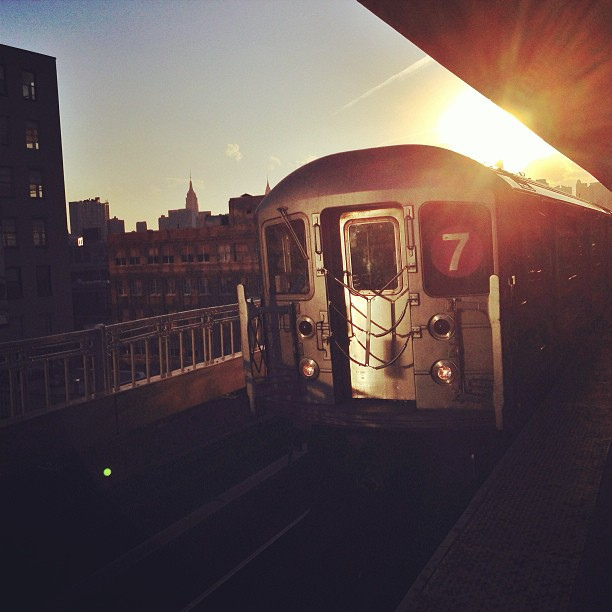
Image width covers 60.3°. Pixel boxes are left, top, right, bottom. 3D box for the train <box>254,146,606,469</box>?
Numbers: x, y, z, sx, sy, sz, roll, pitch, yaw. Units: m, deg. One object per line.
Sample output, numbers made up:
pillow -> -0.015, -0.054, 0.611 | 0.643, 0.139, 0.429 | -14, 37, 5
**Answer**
train -> 2.821, -0.529, 9.781 | 2.345, 4.053, 10.889 | -2, 5, 25
